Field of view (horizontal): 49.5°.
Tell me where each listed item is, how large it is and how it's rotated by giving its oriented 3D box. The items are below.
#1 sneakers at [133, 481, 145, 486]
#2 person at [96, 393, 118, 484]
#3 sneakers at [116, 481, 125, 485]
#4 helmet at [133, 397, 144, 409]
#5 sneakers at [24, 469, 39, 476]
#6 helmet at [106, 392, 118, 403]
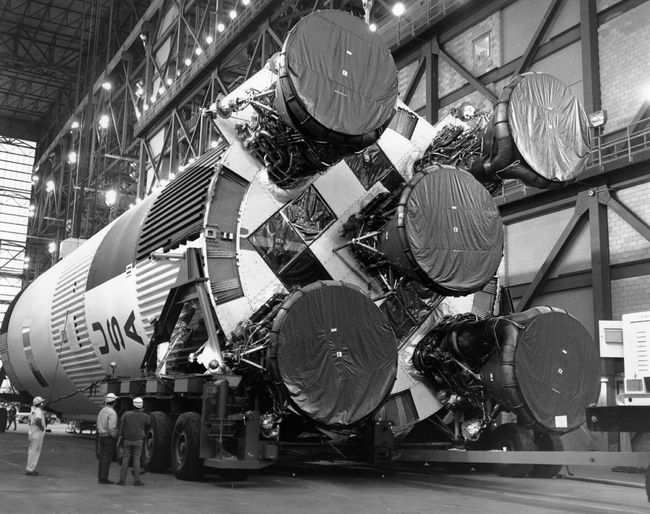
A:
[{"bbox_3d":[-3.666,4.461,13.965,0.196,0.109,0.274,5,-15,-10],"label":"sneakers"},{"bbox_3d":[-4.612,3.795,14.933,0.412,1.855,0.978,5,-13,-16],"label":"person"},{"bbox_3d":[-4.071,4.513,14.175,0.137,0.087,0.260,10,-16,-26],"label":"sneakers"},{"bbox_3d":[-4.043,3.158,15.363,0.215,0.270,0.291,1,1,-22],"label":"helmet"},{"bbox_3d":[-6.302,4.636,15.209,0.309,0.122,0.125,7,-11,-39],"label":"sneakers"},{"bbox_3d":[-4.705,3.066,15.523,0.266,0.161,0.410,0,-5,-16],"label":"helmet"}]
